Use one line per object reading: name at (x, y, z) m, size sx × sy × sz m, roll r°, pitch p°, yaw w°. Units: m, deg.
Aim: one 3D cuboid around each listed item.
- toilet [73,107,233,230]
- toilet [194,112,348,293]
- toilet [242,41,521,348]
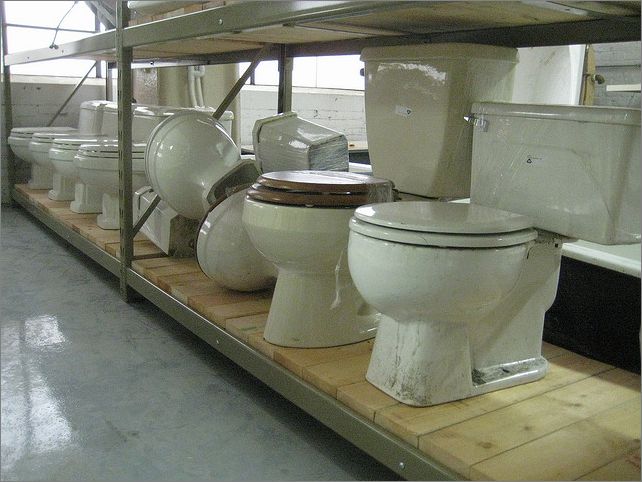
toilet at (-1.023, -0.426, 3.124) m, size 0.879 × 0.690 × 0.477 m, roll 1°, pitch 4°, yaw -18°
toilet at (-0.167, -0.152, 2.116) m, size 0.421 × 0.638 × 0.678 m, roll 7°, pitch 20°, yaw 2°
toilet at (0.023, -0.072, 1.982) m, size 0.566 × 0.863 × 0.511 m, roll 1°, pitch -2°, yaw -13°
